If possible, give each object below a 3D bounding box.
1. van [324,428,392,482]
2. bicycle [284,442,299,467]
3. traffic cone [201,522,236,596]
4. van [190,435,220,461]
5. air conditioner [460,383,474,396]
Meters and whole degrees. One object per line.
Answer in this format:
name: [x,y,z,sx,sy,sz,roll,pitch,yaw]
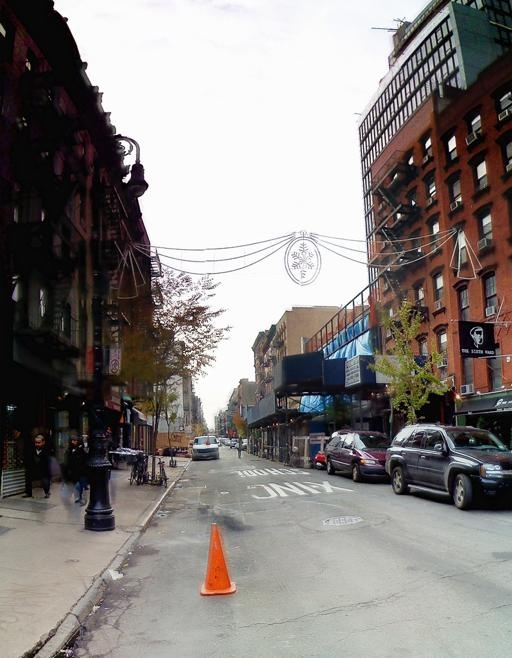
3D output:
van: [3.742,4.540,20.975,1.111,1.115,2.792,2,-17,-11]
bicycle: [2.361,8.113,37.540,0.886,1.189,1.820,1,-8,-4]
traffic cone: [-0.400,2.375,5.956,0.401,0.581,0.432,18,-42,-25]
van: [-4.559,10.572,52.282,2.091,2.176,2.570,3,-12,-16]
air conditioner: [9.508,2.768,26.594,0.413,0.715,0.819,5,-11,-14]
